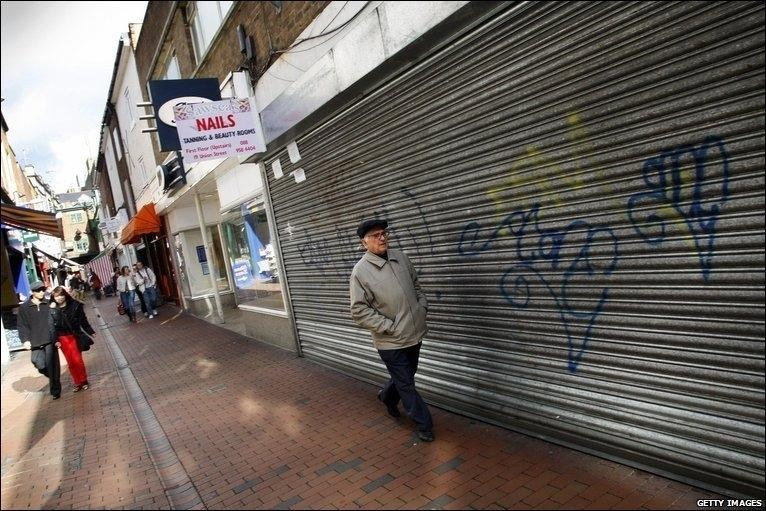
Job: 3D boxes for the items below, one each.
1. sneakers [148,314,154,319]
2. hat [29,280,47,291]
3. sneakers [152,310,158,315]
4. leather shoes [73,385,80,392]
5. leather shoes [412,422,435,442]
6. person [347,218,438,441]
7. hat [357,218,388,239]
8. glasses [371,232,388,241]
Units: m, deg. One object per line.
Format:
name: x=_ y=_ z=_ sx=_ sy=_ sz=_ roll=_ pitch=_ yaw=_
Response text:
sneakers: x=-10.246 y=2.692 z=17.476 sx=0.148 sy=0.119 sz=0.316 roll=-5 pitch=-8 yaw=-37
hat: x=-7.049 y=0.621 z=8.086 sx=0.298 sy=0.122 sz=0.444 roll=-12 pitch=11 yaw=-39
sneakers: x=-10.940 y=2.738 z=18.992 sx=0.093 sy=0.208 sz=0.367 roll=1 pitch=3 yaw=13
leather shoes: x=-6.490 y=2.820 z=8.422 sx=0.140 sy=0.144 sz=0.400 roll=3 pitch=-17 yaw=-36
leather shoes: x=0.446 y=1.937 z=4.349 sx=0.120 sy=0.109 sz=0.295 roll=2 pitch=-8 yaw=-23
person: x=0.153 y=0.808 z=4.472 sx=0.648 sy=1.694 sz=0.652 roll=-10 pitch=8 yaw=30
hat: x=-0.139 y=-0.281 z=4.354 sx=0.314 sy=0.093 sz=0.228 roll=-17 pitch=-11 yaw=38
glasses: x=-0.057 y=-0.195 z=4.350 sx=0.155 sy=0.042 sz=0.154 roll=3 pitch=-10 yaw=-39
